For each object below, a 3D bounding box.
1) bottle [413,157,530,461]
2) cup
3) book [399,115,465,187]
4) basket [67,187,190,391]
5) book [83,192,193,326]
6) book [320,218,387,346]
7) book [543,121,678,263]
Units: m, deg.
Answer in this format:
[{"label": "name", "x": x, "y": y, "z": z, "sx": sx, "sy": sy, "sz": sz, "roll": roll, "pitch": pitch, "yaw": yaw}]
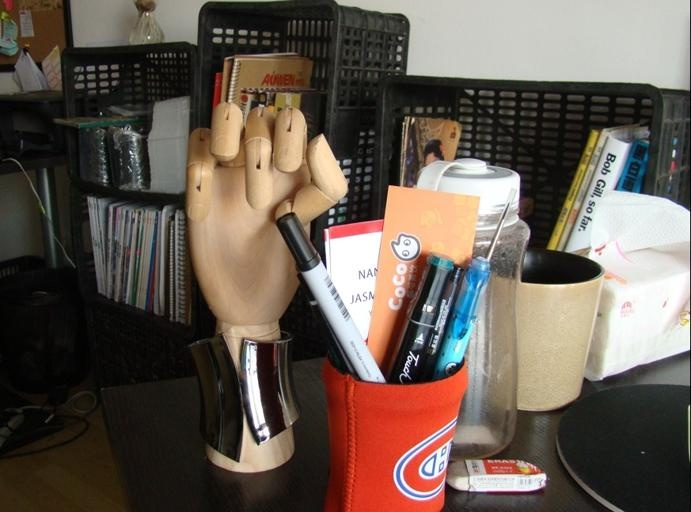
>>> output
[{"label": "bottle", "x": 0.168, "y": 0.070, "z": 0.818, "sx": 0.151, "sy": 0.363, "sz": 0.157, "roll": -2, "pitch": 18, "yaw": 1}, {"label": "cup", "x": 0.279, "y": 0.114, "z": 0.887, "sx": 0.144, "sy": 0.179, "sz": 0.158, "roll": -2, "pitch": 5, "yaw": 0}, {"label": "book", "x": 0.152, "y": -0.185, "z": 1.064, "sx": 0.116, "sy": 0.126, "sz": 0.011, "roll": 3, "pitch": -3, "yaw": 32}, {"label": "basket", "x": -0.588, "y": 0.082, "z": 1.630, "sx": 0.192, "sy": 0.523, "sz": 0.497, "roll": -10, "pitch": 17, "yaw": -33}, {"label": "book", "x": -0.559, "y": -0.002, "z": 1.636, "sx": 0.410, "sy": 0.318, "sz": 0.070, "roll": 16, "pitch": 21, "yaw": 34}, {"label": "book", "x": 0.010, "y": 0.033, "z": 0.712, "sx": 0.121, "sy": 0.176, "sz": 0.018, "roll": -10, "pitch": 12, "yaw": -38}, {"label": "book", "x": 0.427, "y": -0.112, "z": 0.990, "sx": 0.043, "sy": 0.201, "sz": 0.185, "roll": 16, "pitch": 17, "yaw": 30}]
